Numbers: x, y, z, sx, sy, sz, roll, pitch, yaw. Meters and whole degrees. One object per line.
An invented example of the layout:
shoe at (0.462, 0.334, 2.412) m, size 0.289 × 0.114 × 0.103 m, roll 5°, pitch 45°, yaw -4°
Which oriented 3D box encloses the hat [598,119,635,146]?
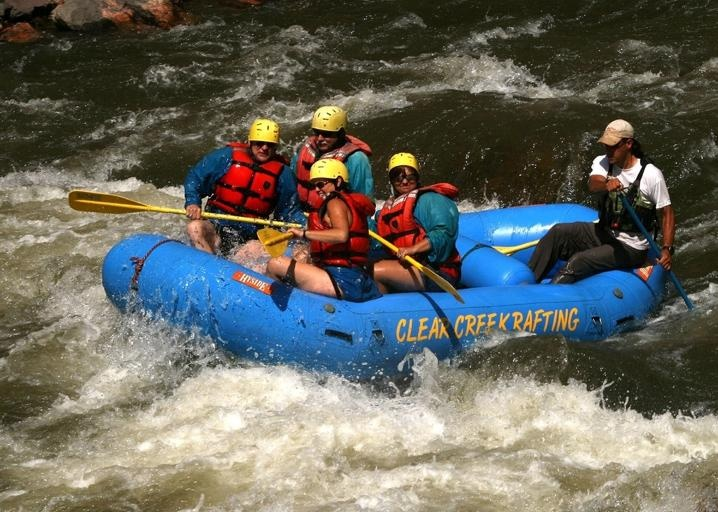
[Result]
hat at (2.982, -1.430, 11.714) m, size 0.468 × 0.210 × 0.276 m, roll -11°, pitch 21°, yaw -16°

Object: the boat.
boat at (0.449, 0.576, 11.407) m, size 5.820 × 0.878 × 2.680 m, roll 3°, pitch 26°, yaw -13°

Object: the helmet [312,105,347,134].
helmet at (-0.376, -1.631, 12.154) m, size 0.401 × 0.278 × 0.279 m, roll -3°, pitch 23°, yaw -5°

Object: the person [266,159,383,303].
person at (-0.369, -0.277, 11.126) m, size 1.125 × 1.469 × 0.705 m, roll -2°, pitch 25°, yaw -1°

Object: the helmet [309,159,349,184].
helmet at (-0.373, -0.928, 11.151) m, size 0.383 × 0.185 × 0.259 m, roll -14°, pitch 11°, yaw -21°

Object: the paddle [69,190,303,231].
paddle at (-2.111, -0.546, 12.489) m, size 3.449 × 0.348 × 0.200 m, roll 6°, pitch 55°, yaw 2°

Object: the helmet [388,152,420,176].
helmet at (0.498, -1.049, 11.828) m, size 0.285 × 0.318 × 0.263 m, roll -2°, pitch 48°, yaw 3°

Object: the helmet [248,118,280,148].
helmet at (-1.167, -1.440, 12.182) m, size 0.330 × 0.368 × 0.265 m, roll 9°, pitch 67°, yaw -7°

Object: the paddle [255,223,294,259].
paddle at (-0.938, -0.153, 10.974) m, size 0.344 × 0.351 × 0.218 m, roll -16°, pitch 28°, yaw -31°
